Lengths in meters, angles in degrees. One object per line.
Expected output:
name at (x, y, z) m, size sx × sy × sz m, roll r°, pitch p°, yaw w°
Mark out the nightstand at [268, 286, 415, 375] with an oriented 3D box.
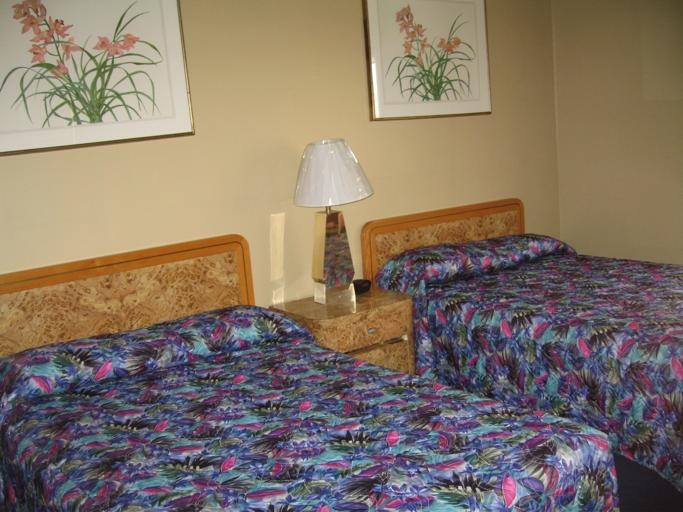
nightstand at (0.038, 0.390, 3.170) m, size 0.525 × 0.688 × 0.663 m, roll 11°, pitch 19°, yaw 42°
